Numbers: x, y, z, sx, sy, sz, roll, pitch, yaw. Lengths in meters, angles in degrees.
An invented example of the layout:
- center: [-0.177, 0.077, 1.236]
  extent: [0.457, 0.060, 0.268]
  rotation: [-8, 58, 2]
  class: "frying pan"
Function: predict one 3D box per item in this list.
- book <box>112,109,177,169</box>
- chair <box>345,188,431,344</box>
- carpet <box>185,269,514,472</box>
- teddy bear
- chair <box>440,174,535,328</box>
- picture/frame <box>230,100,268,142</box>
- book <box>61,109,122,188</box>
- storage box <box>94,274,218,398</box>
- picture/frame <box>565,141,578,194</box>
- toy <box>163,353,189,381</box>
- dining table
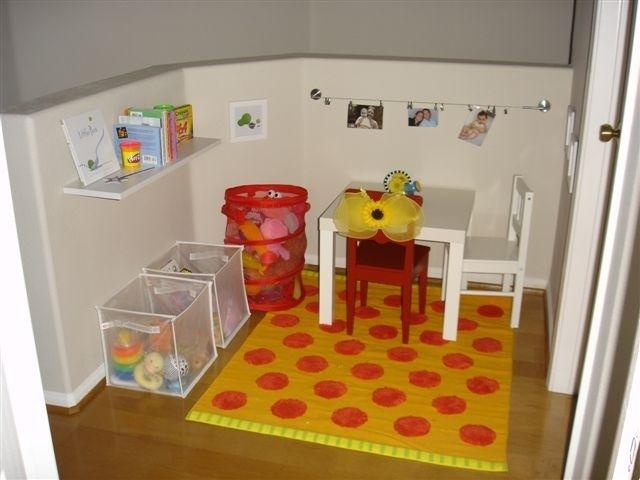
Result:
- center: [-0.939, -0.580, 2.794]
  extent: [0.385, 0.405, 0.300]
  rotation: [2, 12, 15]
  class: "book"
- center: [0.436, 0.164, 3.168]
  extent: [0.592, 1.148, 0.664]
  rotation: [6, 42, 11]
  class: "chair"
- center: [0.336, 0.709, 3.053]
  extent: [1.631, 0.192, 1.777]
  rotation: [8, 20, 20]
  class: "carpet"
- center: [-0.398, 0.032, 3.303]
  extent: [0.468, 0.644, 0.480]
  rotation: [-15, 27, -28]
  class: "teddy bear"
- center: [1.155, 0.056, 3.373]
  extent: [0.515, 1.010, 0.571]
  rotation: [5, 32, 7]
  class: "chair"
- center: [-0.533, -0.878, 3.538]
  extent: [0.268, 0.281, 0.012]
  rotation: [-17, 31, -29]
  class: "picture/frame"
- center: [-1.177, -0.459, 2.475]
  extent: [0.043, 0.333, 0.340]
  rotation: [-3, 22, 19]
  class: "book"
- center: [-0.872, 0.510, 2.911]
  extent: [0.619, 0.642, 0.638]
  rotation: [8, 21, 19]
  class: "storage box"
- center: [1.432, -0.417, 2.775]
  extent: [0.040, 0.313, 0.272]
  rotation: [4, 38, 25]
  class: "picture/frame"
- center: [-0.790, 0.693, 2.669]
  extent: [0.118, 0.104, 0.132]
  rotation: [-1, 3, -38]
  class: "toy"
- center: [0.561, -0.075, 3.470]
  extent: [0.978, 0.860, 1.013]
  rotation: [5, 24, 14]
  class: "dining table"
